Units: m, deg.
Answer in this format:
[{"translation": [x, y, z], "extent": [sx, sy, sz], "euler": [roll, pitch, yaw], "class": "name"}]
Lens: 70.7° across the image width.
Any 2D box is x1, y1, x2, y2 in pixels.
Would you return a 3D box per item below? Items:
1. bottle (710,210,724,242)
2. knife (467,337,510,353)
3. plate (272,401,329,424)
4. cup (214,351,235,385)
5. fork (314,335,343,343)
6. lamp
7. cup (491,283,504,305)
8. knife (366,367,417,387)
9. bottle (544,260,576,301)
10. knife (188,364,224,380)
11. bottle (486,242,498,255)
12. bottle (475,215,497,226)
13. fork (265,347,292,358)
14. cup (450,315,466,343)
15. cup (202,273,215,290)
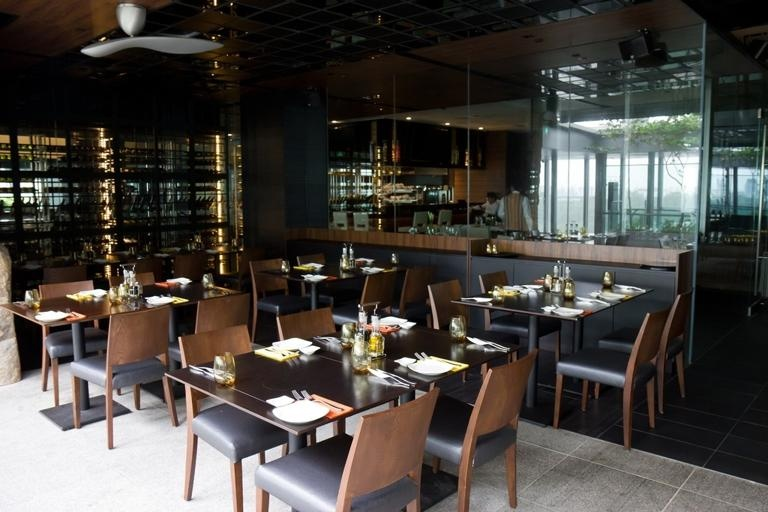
[{"translation": [4.278, -0.383, 6.974], "extent": [0.065, 0.549, 0.459], "euler": [3, 4, 41], "class": "bottle"}, {"translation": [0.801, 0.681, 4.375], "extent": [0.099, 0.060, 0.480], "euler": [-7, 10, -38], "class": "knife"}, {"translation": [-0.524, 0.996, 3.441], "extent": [0.332, 0.086, 0.216], "euler": [-5, 7, -25], "class": "plate"}, {"translation": [-1.110, 0.780, 3.778], "extent": [0.146, 0.220, 0.157], "euler": [-2, 8, 0], "class": "cup"}, {"translation": [-0.451, 0.689, 4.495], "extent": [0.281, 0.048, 0.072], "euler": [4, 5, 22], "class": "fork"}, {"translation": [-2.220, -2.047, 5.087], "extent": [1.056, 0.343, 0.825], "euler": [1, 11, 22], "class": "lamp"}, {"translation": [1.181, 0.393, 5.447], "extent": [0.156, 0.193, 0.150], "euler": [-1, -1, 0], "class": "cup"}, {"translation": [0.053, 0.849, 3.787], "extent": [0.113, 0.039, 0.366], "euler": [-9, 5, -31], "class": "knife"}, {"translation": [1.916, 0.245, 5.775], "extent": [0.311, 0.404, 0.463], "euler": [-3, 3, -37], "class": "bottle"}, {"translation": [-1.271, 0.834, 3.875], "extent": [0.356, 0.064, 0.082], "euler": [10, 13, 36], "class": "knife"}, {"translation": [1.513, -0.108, 7.593], "extent": [0.205, 0.162, 0.073], "euler": [-1, -3, -7], "class": "bottle"}, {"translation": [1.468, -0.519, 7.755], "extent": [0.237, 0.201, 0.143], "euler": [0, 5, 10], "class": "bottle"}, {"translation": [-0.813, 0.753, 4.191], "extent": [0.074, 0.035, 0.221], "euler": [-5, 9, -39], "class": "fork"}, {"translation": [0.605, 0.589, 4.428], "extent": [0.128, 0.203, 0.133], "euler": [-2, 8, 0], "class": "cup"}, {"translation": [-2.099, 0.299, 6.451], "extent": [0.200, 0.229, 0.135], "euler": [-1, -2, 14], "class": "cup"}]
